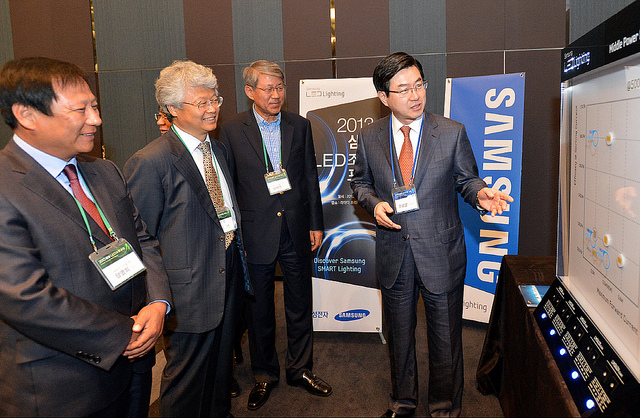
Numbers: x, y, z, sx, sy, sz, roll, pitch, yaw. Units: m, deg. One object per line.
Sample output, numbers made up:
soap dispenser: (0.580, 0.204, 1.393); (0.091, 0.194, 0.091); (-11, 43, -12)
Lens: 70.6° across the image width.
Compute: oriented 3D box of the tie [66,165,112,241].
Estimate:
tie: (-1.161, -0.044, 2.239); (0.120, 0.471, 0.025); (-21, -13, -35)

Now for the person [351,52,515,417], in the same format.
person: (0.666, 0.207, 2.980); (0.840, 2.388, 0.597); (-2, 14, 3)

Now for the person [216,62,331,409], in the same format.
person: (-0.321, 0.166, 3.419); (0.772, 2.482, 0.635); (-5, 5, -14)

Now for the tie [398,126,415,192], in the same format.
tie: (0.546, -0.331, 2.871); (0.096, 0.388, 0.015); (-13, -18, 27)
